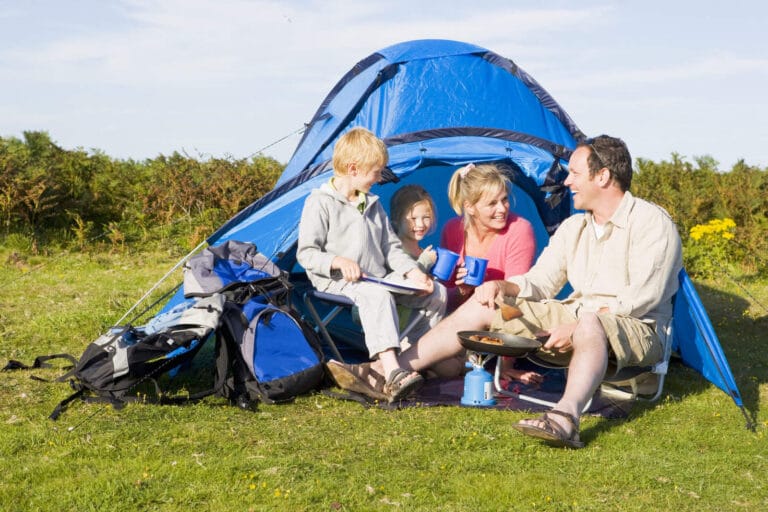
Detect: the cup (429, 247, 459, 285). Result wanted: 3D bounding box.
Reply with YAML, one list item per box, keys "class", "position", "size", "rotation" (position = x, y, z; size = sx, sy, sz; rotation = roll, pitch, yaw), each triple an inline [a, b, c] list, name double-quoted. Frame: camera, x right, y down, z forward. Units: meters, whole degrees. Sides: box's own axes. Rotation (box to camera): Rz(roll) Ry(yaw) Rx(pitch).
- class: "cup"
  position: [0.505, 0.139, 8.159]
  size: [0.273, 0.381, 0.331]
  rotation: [10, -7, 0]

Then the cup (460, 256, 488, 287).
- class: "cup"
  position: [0.739, 0.149, 7.541]
  size: [0.198, 0.243, 0.237]
  rotation: [0, -3, 1]
